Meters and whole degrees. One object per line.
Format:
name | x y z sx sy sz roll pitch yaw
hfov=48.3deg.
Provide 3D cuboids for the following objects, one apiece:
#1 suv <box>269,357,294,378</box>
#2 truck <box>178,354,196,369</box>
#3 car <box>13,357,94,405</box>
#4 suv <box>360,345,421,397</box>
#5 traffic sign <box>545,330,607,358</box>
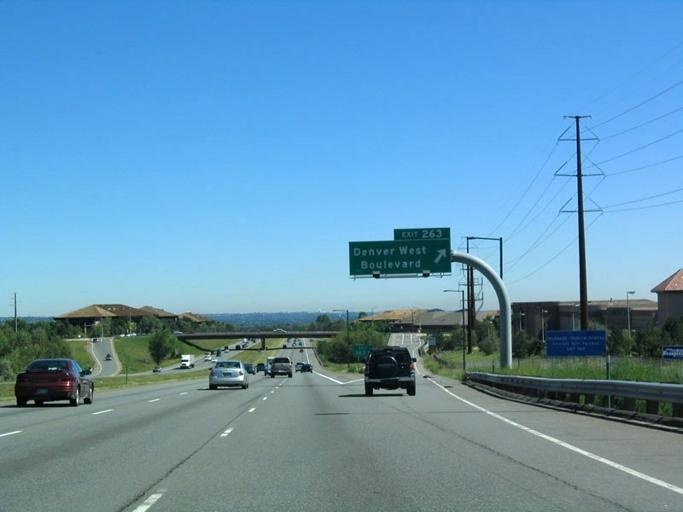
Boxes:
suv | -5.933 10.587 73.311 1.446 1.421 3.055 0 -8 -1
truck | -27.858 18.835 135.800 1.614 2.603 5.209 -1 -14 -1
car | -11.547 5.057 30.699 2.251 1.894 5.352 0 -8 -10
suv | 2.151 5.136 34.596 1.850 2.337 4.034 -1 -7 8
traffic sign | 9.657 3.542 31.436 0.806 1.121 2.733 3 -10 -35
